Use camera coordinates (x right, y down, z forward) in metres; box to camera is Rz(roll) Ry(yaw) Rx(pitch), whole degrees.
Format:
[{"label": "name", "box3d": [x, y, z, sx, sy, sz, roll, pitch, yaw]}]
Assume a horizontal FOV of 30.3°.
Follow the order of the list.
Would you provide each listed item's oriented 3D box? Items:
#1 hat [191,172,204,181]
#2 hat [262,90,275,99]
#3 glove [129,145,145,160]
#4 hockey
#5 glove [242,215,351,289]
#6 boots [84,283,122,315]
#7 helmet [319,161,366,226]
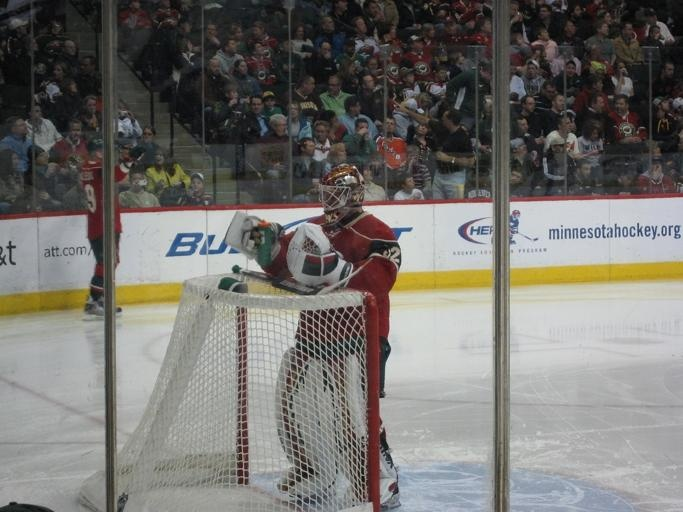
[{"label": "hat", "box3d": [-1.662, -0.930, 14.416, 0.092, 0.080, 0.108, 1, 6, -1]}, {"label": "hat", "box3d": [-0.862, -1.905, 14.727, 0.104, 0.079, 0.082, -25, 15, 19]}, {"label": "glove", "box3d": [-2.353, -1.198, 14.415, 0.158, 0.152, 0.036, -13, 4, -21]}, {"label": "hockey", "box3d": [-0.414, 0.196, 9.339, 0.679, 0.116, 0.367, 11, -2, 9]}, {"label": "glove", "box3d": [-0.280, 0.019, 9.311, 0.425, 0.426, 0.510, -20, -51, 24]}, {"label": "boots", "box3d": [-2.593, 0.519, 13.408, 0.202, 0.398, 0.585, 3, -7, -32]}, {"label": "helmet", "box3d": [-0.002, -0.490, 9.560, 0.431, 0.481, 0.397, -2, 0, -27]}]
